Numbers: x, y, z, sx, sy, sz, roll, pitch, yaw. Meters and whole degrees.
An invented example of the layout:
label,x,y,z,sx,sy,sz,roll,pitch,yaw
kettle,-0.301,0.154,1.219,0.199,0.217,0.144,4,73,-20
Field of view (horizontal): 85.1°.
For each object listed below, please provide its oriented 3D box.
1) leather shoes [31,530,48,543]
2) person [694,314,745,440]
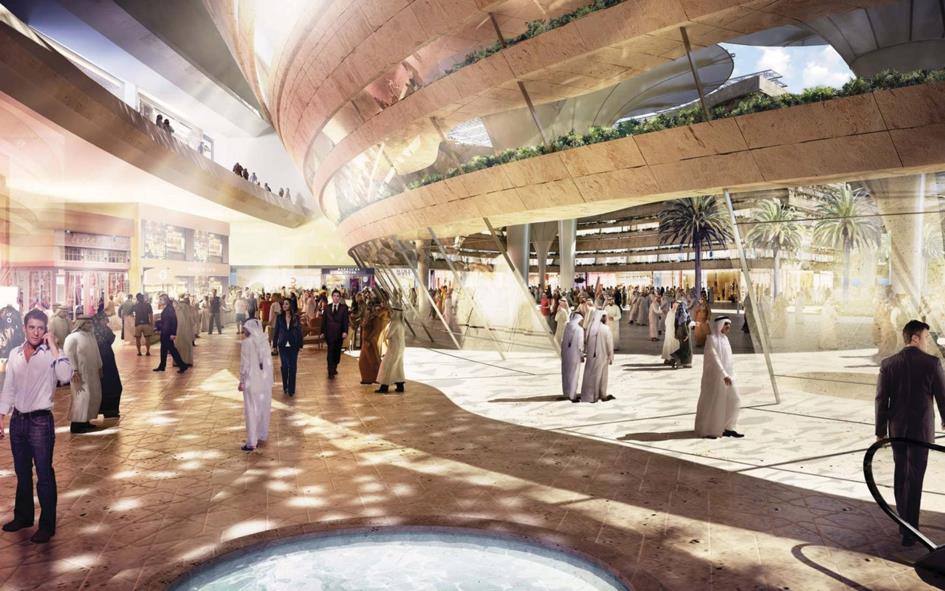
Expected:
label,x,y,z,sx,sy,sz,roll,pitch,yaw
leather shoes,-5.093,2.832,6.063,0.251,0.115,0.122,-1,-1,1
person,4.528,1.524,9.541,0.781,2.298,0.558,-1,-1,-35
